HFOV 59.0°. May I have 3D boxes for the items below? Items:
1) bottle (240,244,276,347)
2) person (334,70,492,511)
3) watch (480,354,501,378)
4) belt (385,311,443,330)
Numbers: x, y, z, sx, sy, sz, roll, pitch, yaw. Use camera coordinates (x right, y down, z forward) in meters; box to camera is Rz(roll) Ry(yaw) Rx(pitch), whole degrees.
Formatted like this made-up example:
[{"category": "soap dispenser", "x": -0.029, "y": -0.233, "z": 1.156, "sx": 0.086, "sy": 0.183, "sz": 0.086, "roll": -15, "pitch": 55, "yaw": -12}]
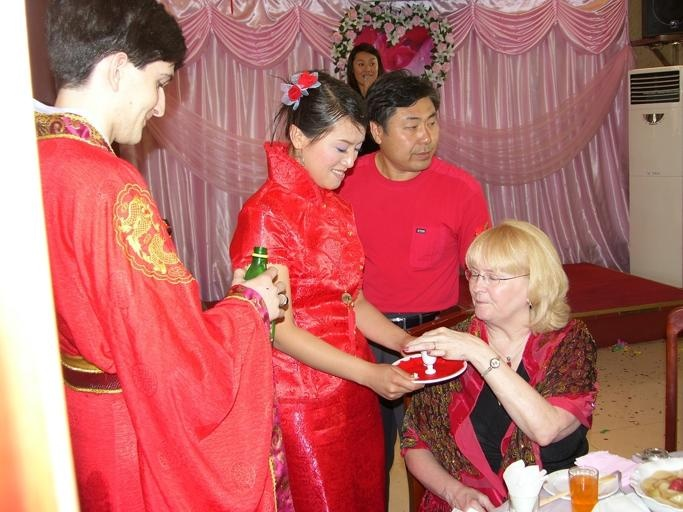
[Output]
[{"category": "bottle", "x": -0.209, "y": 0.105, "z": 1.506, "sx": 0.060, "sy": 0.231, "sz": 0.091, "roll": 1, "pitch": 3, "yaw": 39}, {"category": "person", "x": 0.250, "y": 0.315, "z": 2.623, "sx": 0.850, "sy": 2.130, "sz": 0.663, "roll": 1, "pitch": 7, "yaw": 15}, {"category": "watch", "x": 0.430, "y": 0.318, "z": 1.725, "sx": 0.055, "sy": 0.022, "sz": 0.045, "roll": -43, "pitch": 18, "yaw": 23}, {"category": "belt", "x": 0.308, "y": 0.259, "z": 2.598, "sx": 0.153, "sy": 0.092, "sz": 0.104, "roll": -6, "pitch": 5, "yaw": -34}]
